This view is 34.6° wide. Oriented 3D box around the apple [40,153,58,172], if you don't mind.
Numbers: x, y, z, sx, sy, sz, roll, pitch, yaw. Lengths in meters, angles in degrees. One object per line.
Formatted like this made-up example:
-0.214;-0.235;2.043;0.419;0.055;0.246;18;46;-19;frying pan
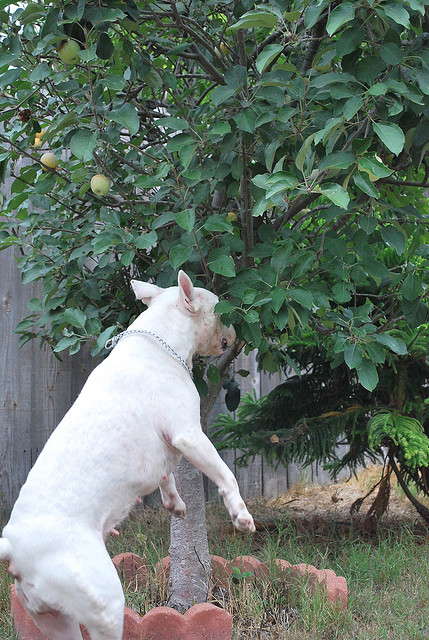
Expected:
-0.573;-0.555;2.386;0.049;0.072;0.118;-3;-3;-9;apple

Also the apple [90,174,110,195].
-0.357;-0.430;2.158;0.052;0.087;0.109;-3;-3;-7;apple

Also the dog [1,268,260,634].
-0.234;0.345;1.868;0.636;0.956;0.464;-3;-3;-5;dog

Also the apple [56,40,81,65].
-0.426;-0.783;2.021;0.060;0.058;0.086;-2;-3;-9;apple
